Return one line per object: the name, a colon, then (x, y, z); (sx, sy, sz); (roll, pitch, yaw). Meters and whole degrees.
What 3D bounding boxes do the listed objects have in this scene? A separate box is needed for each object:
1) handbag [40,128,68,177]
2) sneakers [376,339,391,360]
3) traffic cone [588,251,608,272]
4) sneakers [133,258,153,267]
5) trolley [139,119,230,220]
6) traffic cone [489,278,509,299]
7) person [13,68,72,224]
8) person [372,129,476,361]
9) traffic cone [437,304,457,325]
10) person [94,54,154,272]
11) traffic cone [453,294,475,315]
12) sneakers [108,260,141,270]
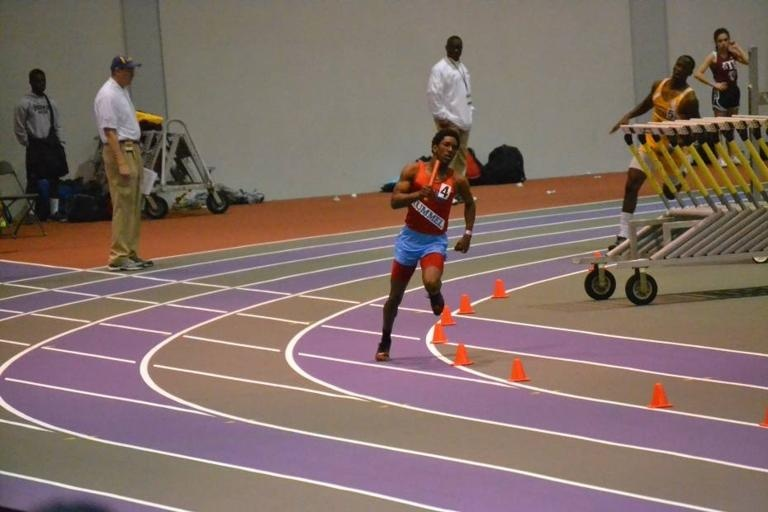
handbag: (-6.496, -2.032, 13.600); (0.159, 0.806, 0.521); (-8, 3, 10)
sneakers: (-0.012, 0.733, 5.627); (0.121, 0.203, 0.211); (-2, 10, 0)
traffic cone: (2.250, 0.062, 7.201); (0.139, 0.184, 0.306); (-4, 16, 13)
sneakers: (-3.268, 0.077, 9.318); (0.234, 0.124, 0.101); (-3, 7, -28)
trolley: (-4.207, -1.768, 14.799); (1.771, 1.931, 1.417); (-9, 2, -26)
traffic cone: (1.259, 0.367, 7.453); (0.159, 0.212, 0.174); (0, -1, 2)
person: (-6.786, -2.190, 13.708); (0.820, 2.976, 0.637); (-2, 9, -4)
person: (0.343, -0.116, 5.685); (1.012, 1.828, 0.526); (-8, 11, -35)
traffic cone: (0.599, 0.577, 6.577); (0.176, 0.176, 0.165); (-4, 3, -34)
person: (-3.444, -1.217, 9.089); (0.579, 2.826, 0.570); (-6, 10, -24)
traffic cone: (0.831, 0.497, 6.951); (0.158, 0.178, 0.165); (-1, -4, 3)
sneakers: (-3.488, 0.129, 9.217); (0.344, 0.190, 0.181); (-2, 3, -5)
